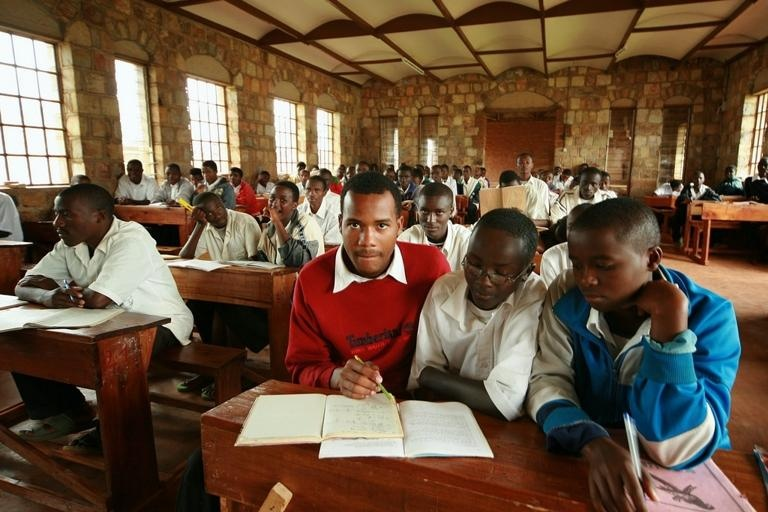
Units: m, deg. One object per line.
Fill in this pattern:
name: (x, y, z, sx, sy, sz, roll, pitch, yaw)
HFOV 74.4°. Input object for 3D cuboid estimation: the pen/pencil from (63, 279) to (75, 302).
pen/pencil: (-2.019, 0.230, 3.232, 0.029, 0.024, 0.202, -15, 39, -28)

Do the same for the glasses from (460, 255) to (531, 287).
glasses: (0.551, 0.073, 2.477, 0.329, 0.116, 0.113, 3, 12, 7)

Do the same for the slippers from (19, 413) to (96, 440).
slippers: (-2.207, 1.159, 3.431, 0.418, 0.162, 0.176, 1, 4, -22)

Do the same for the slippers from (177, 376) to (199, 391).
slippers: (-1.545, 1.016, 4.025, 0.086, 0.079, 0.220, 11, 11, 40)
